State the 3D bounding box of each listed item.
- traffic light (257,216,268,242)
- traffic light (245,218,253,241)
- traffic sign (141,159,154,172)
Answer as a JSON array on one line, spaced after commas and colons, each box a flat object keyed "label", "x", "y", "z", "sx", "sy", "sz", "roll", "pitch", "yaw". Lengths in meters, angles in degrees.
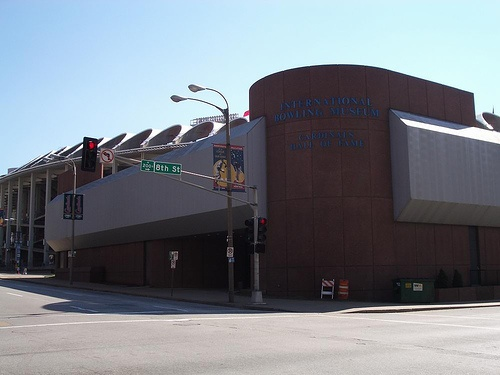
[{"label": "traffic light", "x": 0.737, "y": 2.544, "z": 29.534, "sx": 0.496, "sy": 1.415, "sz": 0.735, "roll": -1, "pitch": -13, "yaw": -3}, {"label": "traffic light", "x": -0.008, "y": 2.598, "z": 29.608, "sx": 0.528, "sy": 1.454, "sz": 0.721, "roll": -1, "pitch": -13, "yaw": -4}, {"label": "traffic sign", "x": -5.490, "y": -1.177, "z": 26.521, "sx": 0.675, "sy": 0.631, "sz": 0.730, "roll": 2, "pitch": -14, "yaw": -13}]
